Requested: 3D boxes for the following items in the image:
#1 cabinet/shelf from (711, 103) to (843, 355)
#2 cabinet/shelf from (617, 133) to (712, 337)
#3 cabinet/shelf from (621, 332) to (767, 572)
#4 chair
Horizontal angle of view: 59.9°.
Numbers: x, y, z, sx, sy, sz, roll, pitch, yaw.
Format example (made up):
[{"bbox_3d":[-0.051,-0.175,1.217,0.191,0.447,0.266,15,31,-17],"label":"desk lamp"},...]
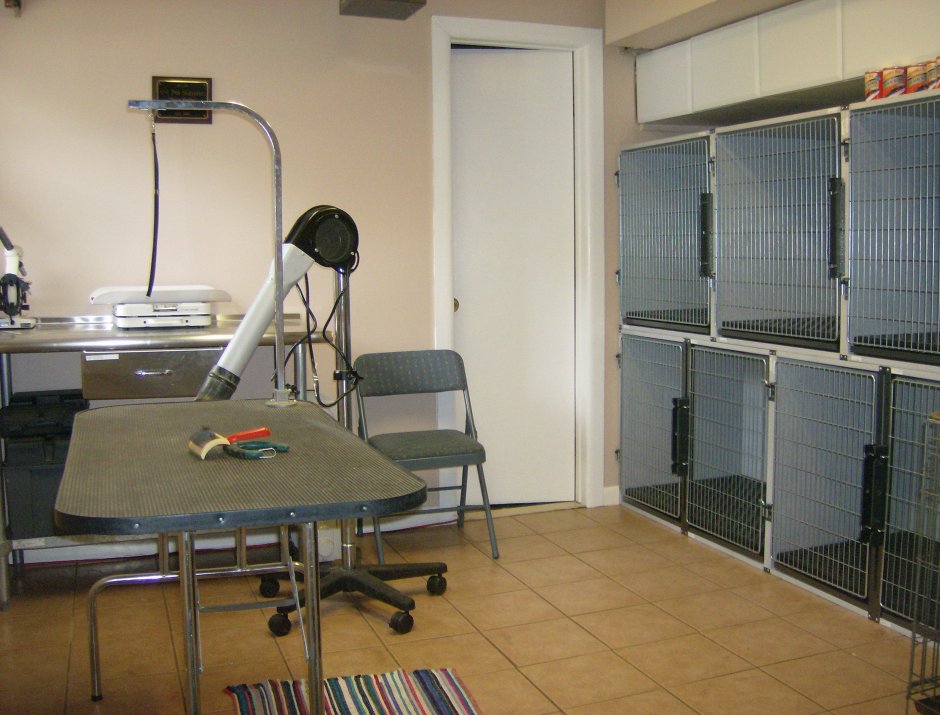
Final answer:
[{"bbox_3d":[1.589,-0.602,4.021,0.414,1.020,0.780,-5,11,-29],"label":"cabinet/shelf"},{"bbox_3d":[1.235,-0.647,4.958,0.732,1.087,0.745,-1,-6,43],"label":"cabinet/shelf"},{"bbox_3d":[1.257,0.517,4.465,0.379,0.935,1.005,-5,11,-30],"label":"cabinet/shelf"},{"bbox_3d":[-0.254,0.477,4.253,0.672,1.016,0.715,-2,5,0],"label":"chair"}]
